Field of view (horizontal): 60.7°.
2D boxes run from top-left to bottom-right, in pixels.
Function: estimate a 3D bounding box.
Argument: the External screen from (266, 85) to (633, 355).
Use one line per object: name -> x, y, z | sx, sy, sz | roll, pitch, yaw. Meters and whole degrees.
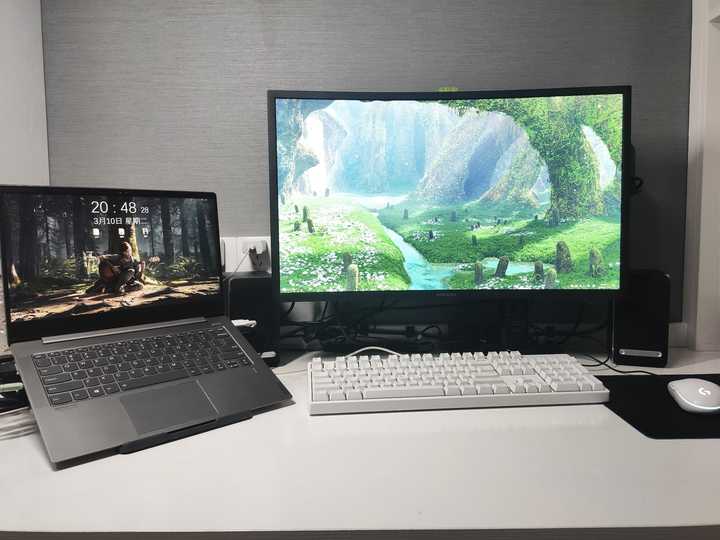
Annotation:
External screen -> 0.198, -0.128, 1.402 | 0.707, 0.423, 0.075 | 0, 3, -4
